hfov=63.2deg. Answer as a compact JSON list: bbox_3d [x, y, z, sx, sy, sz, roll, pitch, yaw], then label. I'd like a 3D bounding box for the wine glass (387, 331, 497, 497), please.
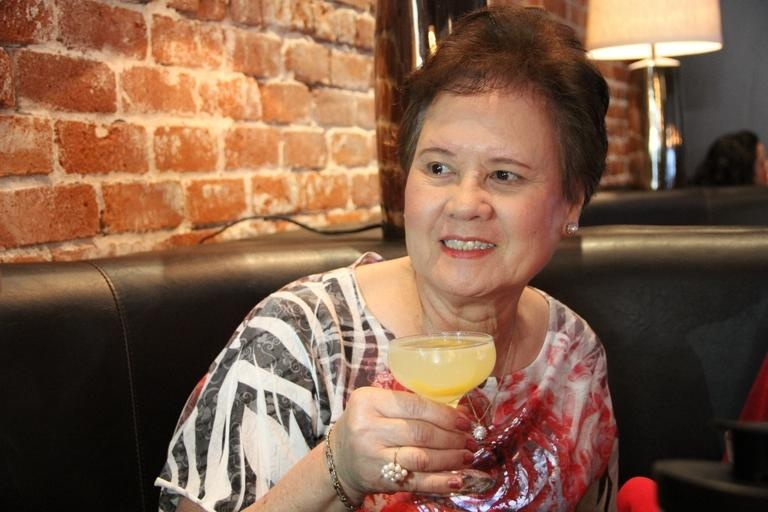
[{"bbox_3d":[0.127,0.251,1.272,0.202,0.173,0.123,-7,11,-27],"label":"wine glass"}]

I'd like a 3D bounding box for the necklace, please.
[{"bbox_3d":[0.258,0.226,1.501,0.192,0.373,0.087,7,4,-1],"label":"necklace"}]
